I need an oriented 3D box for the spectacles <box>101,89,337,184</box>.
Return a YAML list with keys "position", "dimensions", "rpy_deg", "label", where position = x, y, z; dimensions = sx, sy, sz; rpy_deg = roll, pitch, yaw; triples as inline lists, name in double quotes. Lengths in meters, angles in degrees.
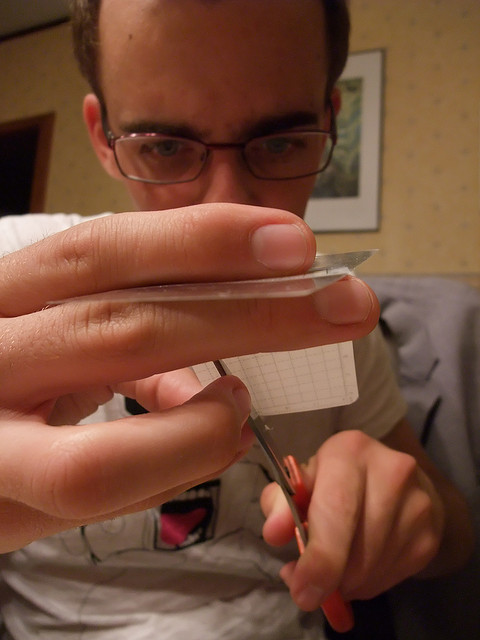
- position: [-0.027, -0.158, 0.543]
  dimensions: [0.228, 0.113, 0.042]
  rpy_deg: [7, 65, 9]
  label: "spectacles"
